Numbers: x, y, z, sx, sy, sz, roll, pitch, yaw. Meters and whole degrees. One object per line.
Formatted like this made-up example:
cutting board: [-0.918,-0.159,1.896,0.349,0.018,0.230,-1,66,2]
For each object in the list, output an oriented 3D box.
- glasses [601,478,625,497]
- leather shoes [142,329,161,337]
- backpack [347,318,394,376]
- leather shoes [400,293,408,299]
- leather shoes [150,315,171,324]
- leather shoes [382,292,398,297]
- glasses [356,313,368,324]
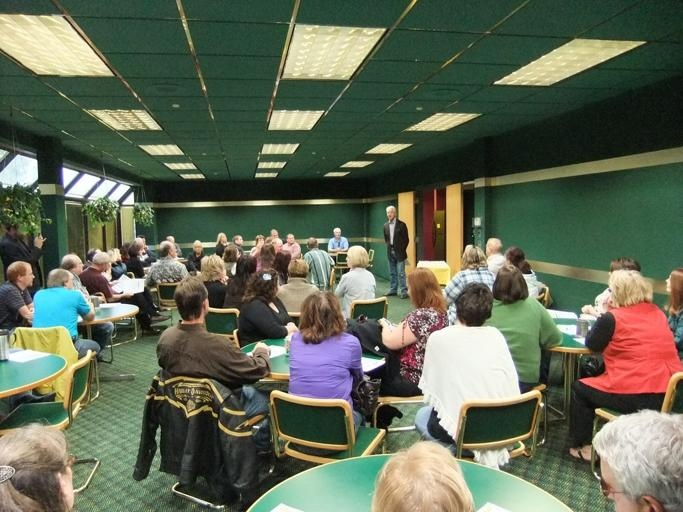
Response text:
glasses: [1.052,0.898,1.856,0.068,0.023,0.067,4,-1,0]
leather shoes: [-3.173,1.272,8.086,0.337,0.150,0.118,-1,0,-22]
backpack: [0.268,0.739,4.033,0.335,0.184,0.428,-1,4,-42]
leather shoes: [1.443,0.916,11.012,0.174,0.180,0.446,-4,-7,11]
leather shoes: [-3.129,1.116,8.349,0.349,0.162,0.122,-5,8,-22]
leather shoes: [1.156,0.898,11.276,0.364,0.144,0.123,5,-7,-36]
glasses: [0.202,0.567,4.360,0.072,0.064,0.119,10,-15,-8]
